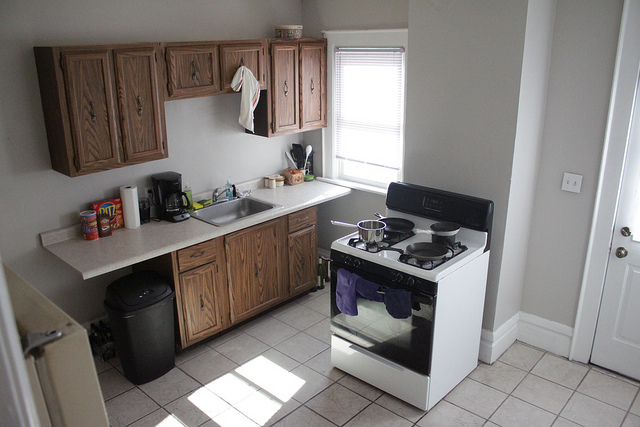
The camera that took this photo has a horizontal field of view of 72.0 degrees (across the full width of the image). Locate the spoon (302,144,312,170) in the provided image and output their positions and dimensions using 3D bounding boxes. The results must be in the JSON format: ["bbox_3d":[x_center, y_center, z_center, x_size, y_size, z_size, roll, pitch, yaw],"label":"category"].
[{"bbox_3d":[-0.136,-0.657,5.130,0.059,0.291,0.043,6,37,-10],"label":"spoon"}]

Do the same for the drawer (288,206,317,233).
[{"bbox_3d":[-0.173,0.053,4.528,0.225,0.211,0.356,17,27,39],"label":"drawer"}]

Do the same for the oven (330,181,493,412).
[{"bbox_3d":[0.738,0.645,3.642,1.039,1.520,0.997,14,25,36],"label":"oven"}]

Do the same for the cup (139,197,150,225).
[{"bbox_3d":[-1.585,-0.027,3.985,0.104,0.220,0.072,-12,23,-27],"label":"cup"}]

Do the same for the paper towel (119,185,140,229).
[{"bbox_3d":[-1.680,-0.062,3.919,0.140,0.356,0.202,-5,20,-9],"label":"paper towel"}]

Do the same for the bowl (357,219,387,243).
[{"bbox_3d":[0.409,0.139,3.550,0.167,0.133,0.205,-4,30,-7],"label":"bowl"}]

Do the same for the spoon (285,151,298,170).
[{"bbox_3d":[-0.326,-0.642,5.115,0.025,0.171,0.034,-18,25,43],"label":"spoon"}]

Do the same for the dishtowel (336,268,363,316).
[{"bbox_3d":[0.211,0.613,3.456,0.101,0.300,0.298,-1,12,-36],"label":"dishtowel"}]

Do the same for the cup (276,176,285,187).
[{"bbox_3d":[-0.446,-0.355,4.967,0.106,0.113,0.103,0,22,0],"label":"cup"}]

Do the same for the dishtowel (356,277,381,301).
[{"bbox_3d":[0.359,0.573,3.357,0.151,0.151,0.056,20,9,31],"label":"dishtowel"}]

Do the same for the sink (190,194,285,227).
[{"bbox_3d":[-0.806,0.024,4.329,0.575,0.207,0.781,17,26,41],"label":"sink"}]
